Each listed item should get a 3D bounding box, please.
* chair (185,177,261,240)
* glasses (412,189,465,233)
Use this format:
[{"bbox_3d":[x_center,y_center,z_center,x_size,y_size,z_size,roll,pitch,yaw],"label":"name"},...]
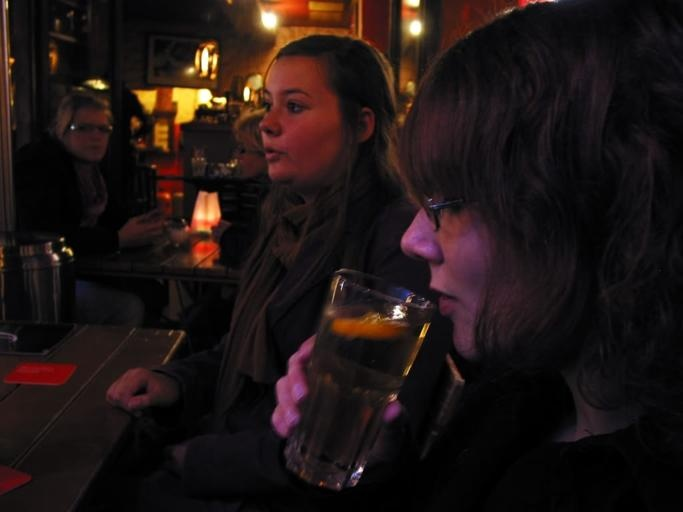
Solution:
[{"bbox_3d":[-0.612,-0.284,3.296,0.509,0.242,0.278,0,15,-6],"label":"chair"},{"bbox_3d":[0.149,-0.068,0.920,0.052,0.053,0.017,6,23,36],"label":"glasses"}]
